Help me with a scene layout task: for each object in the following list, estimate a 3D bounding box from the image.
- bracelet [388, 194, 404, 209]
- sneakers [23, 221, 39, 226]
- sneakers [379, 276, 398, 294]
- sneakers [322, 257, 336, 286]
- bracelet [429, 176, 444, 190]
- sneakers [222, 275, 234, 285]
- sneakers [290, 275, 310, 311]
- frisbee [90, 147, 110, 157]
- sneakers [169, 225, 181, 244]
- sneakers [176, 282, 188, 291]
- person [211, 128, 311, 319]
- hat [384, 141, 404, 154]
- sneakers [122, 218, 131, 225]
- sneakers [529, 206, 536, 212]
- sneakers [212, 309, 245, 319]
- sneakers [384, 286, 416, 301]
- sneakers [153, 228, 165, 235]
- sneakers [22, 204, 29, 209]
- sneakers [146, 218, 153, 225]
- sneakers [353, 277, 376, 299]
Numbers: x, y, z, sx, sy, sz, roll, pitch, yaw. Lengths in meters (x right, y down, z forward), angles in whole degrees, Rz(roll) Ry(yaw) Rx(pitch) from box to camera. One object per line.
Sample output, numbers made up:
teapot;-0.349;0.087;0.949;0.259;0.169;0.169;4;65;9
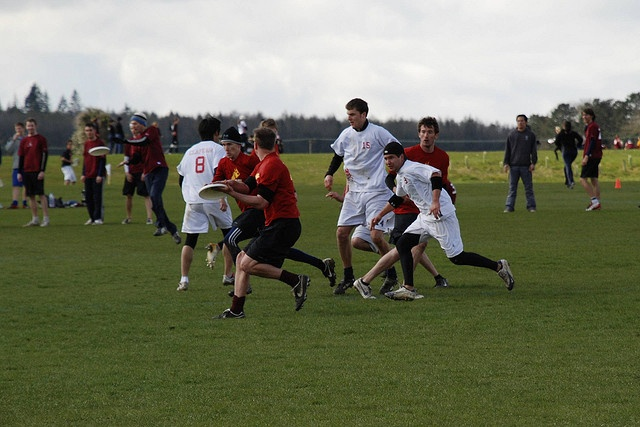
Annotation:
bracelet;1.083;-0.149;13.499;0.188;0.182;0.174;12;-24;-40
sneakers;-6.385;0.237;20.930;0.327;0.125;0.116;0;5;7
sneakers;1.011;1.042;13.803;0.133;0.170;0.378;-14;3;28
sneakers;0.158;0.863;14.001;0.206;0.438;0.153;-8;16;16
bracelet;1.652;-0.439;13.115;0.151;0.204;0.421;5;16;24
sneakers;-1.369;1.003;14.161;0.100;0.129;0.273;7;15;24
sneakers;-0.234;1.034;12.642;0.253;0.497;0.181;3;9;-3
frisbee;-4.562;-1.311;19.646;0.318;0.079;0.306;1;-16;-22
sneakers;-2.779;0.429;18.184;0.105;0.295;0.208;-16;-2;-19
sneakers;-1.980;1.035;13.817;0.134;0.068;0.215;5;14;-3
person;-0.675;0.108;12.608;1.010;2.419;0.659;-2;14;-2
hat;1.038;-0.889;13.209;0.230;0.171;0.164;-22;17;-17
sneakers;-4.389;0.187;21.478;0.103;0.116;0.277;1;3;-32
sneakers;4.986;-0.075;22.218;0.096;0.073;0.126;12;-22;-4
sneakers;-1.196;1.340;12.521;0.415;0.130;0.143;2;-2;-2
sneakers;1.142;1.111;13.044;0.479;0.239;0.170;3;-4;-11
sneakers;-3.193;0.387;18.931;0.107;0.122;0.291;-1;-4;10
sneakers;-8.144;-0.171;26.161;0.233;0.150;0.083;-1;9;3
sneakers;-3.824;0.195;21.237;0.084;0.094;0.230;1;-6;-4
sneakers;0.621;1.058;13.411;0.188;0.431;0.158;-32;25;14
